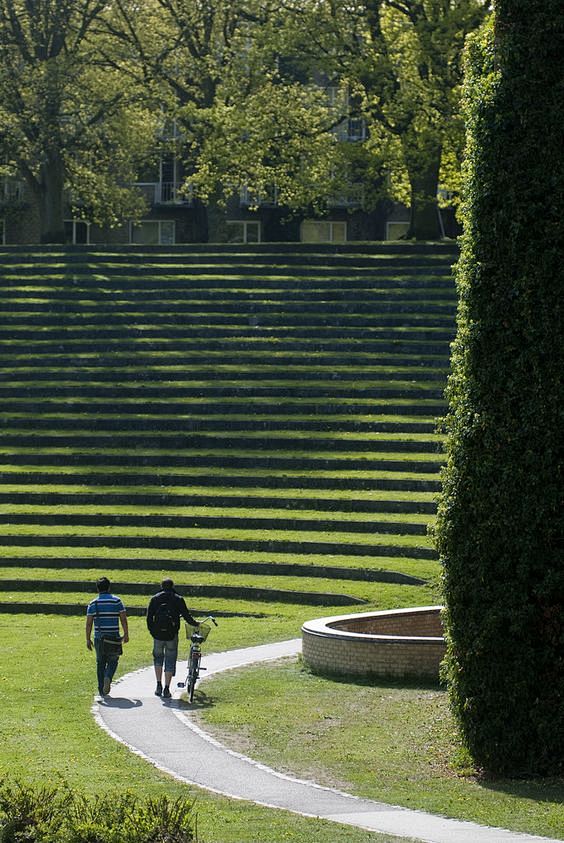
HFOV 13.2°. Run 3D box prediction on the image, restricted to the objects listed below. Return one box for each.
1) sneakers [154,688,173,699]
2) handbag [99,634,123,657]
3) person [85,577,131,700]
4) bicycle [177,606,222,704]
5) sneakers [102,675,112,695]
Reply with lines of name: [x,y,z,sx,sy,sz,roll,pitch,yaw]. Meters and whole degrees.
sneakers: [-1.612,3.733,32.684,0.262,0.142,0.274,3,6,11]
handbag: [-2.287,3.052,32.652,0.369,0.448,0.192,6,-5,-24]
person: [-2.382,2.955,32.972,0.524,1.569,1.238,1,5,-4]
bicycle: [-1.134,3.405,33.325,0.413,0.713,1.064,11,-13,1]
sneakers: [-2.351,3.622,32.559,0.071,0.270,0.097,1,-5,-2]
